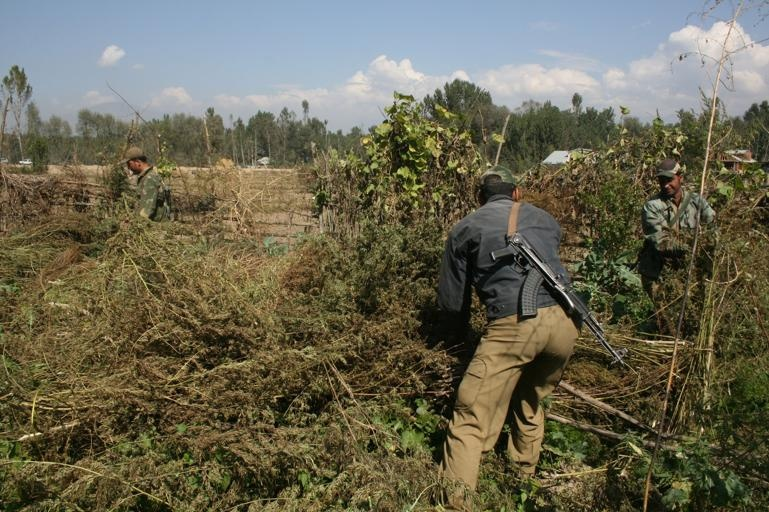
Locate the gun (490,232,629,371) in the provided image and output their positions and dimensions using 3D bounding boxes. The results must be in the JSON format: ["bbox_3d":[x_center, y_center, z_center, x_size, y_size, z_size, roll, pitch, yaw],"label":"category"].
[{"bbox_3d":[1.831,0.527,6.281,0.729,1.750,0.284,-43,5,-17],"label":"gun"}]

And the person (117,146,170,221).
[{"bbox_3d":[-3.826,-1.165,9.656,0.651,1.178,1.058,-6,10,-23],"label":"person"}]
